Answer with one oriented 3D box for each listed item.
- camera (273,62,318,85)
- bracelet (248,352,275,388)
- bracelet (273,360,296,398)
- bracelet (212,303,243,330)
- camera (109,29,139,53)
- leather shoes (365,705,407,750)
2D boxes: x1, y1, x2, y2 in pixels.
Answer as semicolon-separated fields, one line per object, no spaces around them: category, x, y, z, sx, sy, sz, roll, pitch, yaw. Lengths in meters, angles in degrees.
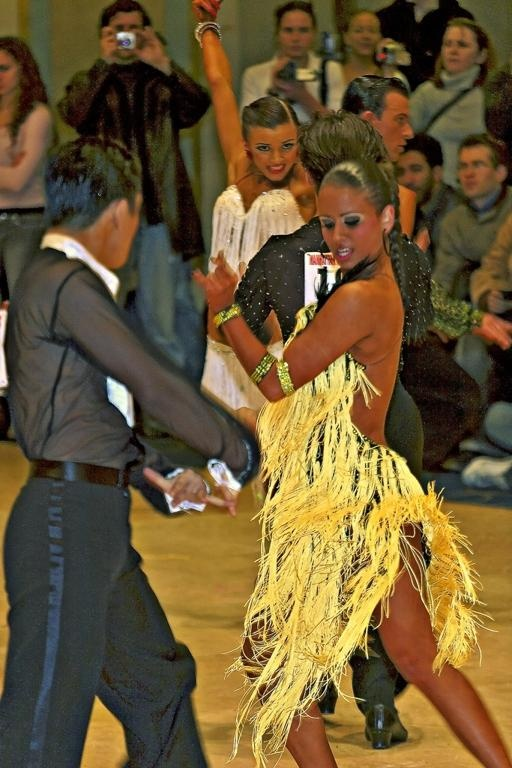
camera;0.276;-1.987;4.928;0.168;0.100;0.217;-4;14;-17
bracelet;0.018;-0.028;1.586;0.026;0.064;0.050;39;2;6
bracelet;0.057;-0.012;1.522;0.023;0.059;0.049;-24;0;45
bracelet;-0.055;-0.143;1.673;0.057;0.022;0.046;-27;-1;2
camera;-0.807;-2.134;4.773;0.142;0.092;0.112;-4;5;-8
leather shoes;0.373;0.953;2.127;0.077;0.072;0.178;-3;1;7
